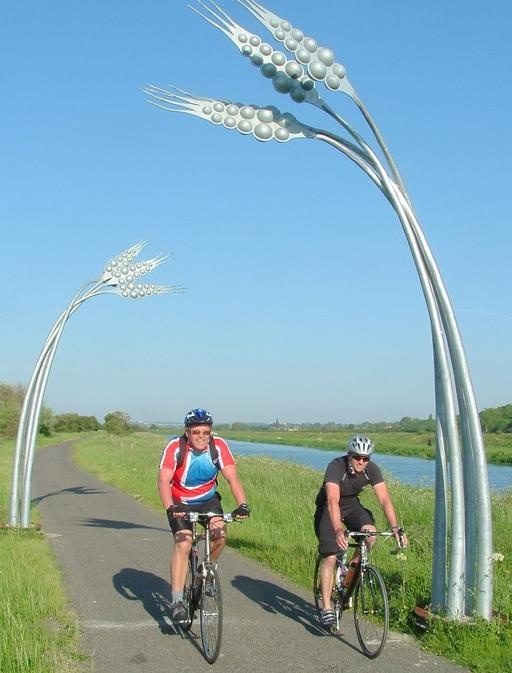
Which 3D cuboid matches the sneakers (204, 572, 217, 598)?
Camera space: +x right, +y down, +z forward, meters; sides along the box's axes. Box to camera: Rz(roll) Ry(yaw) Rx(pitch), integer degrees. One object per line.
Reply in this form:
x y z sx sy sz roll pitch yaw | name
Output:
-0.359 1.883 4.721 0.054 0.190 0.137 -3 -6 -15 | sneakers

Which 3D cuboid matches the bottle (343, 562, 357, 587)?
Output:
0.769 1.979 5.176 0.137 0.183 0.056 8 6 -28 | bottle

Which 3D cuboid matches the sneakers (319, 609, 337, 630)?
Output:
0.603 2.375 5.172 0.133 0.140 0.307 1 -24 -7 | sneakers

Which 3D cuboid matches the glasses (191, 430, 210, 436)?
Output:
-0.467 0.793 5.075 0.145 0.060 0.084 0 -7 -14 | glasses

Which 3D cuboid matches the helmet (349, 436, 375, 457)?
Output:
0.898 0.963 5.335 0.209 0.192 0.367 -3 -7 7 | helmet

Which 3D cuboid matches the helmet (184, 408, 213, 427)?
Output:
-0.477 0.669 4.999 0.210 0.143 0.315 -1 -7 -7 | helmet

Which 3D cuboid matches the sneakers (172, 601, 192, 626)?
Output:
-0.606 2.224 4.981 0.128 0.150 0.345 2 -10 -11 | sneakers
